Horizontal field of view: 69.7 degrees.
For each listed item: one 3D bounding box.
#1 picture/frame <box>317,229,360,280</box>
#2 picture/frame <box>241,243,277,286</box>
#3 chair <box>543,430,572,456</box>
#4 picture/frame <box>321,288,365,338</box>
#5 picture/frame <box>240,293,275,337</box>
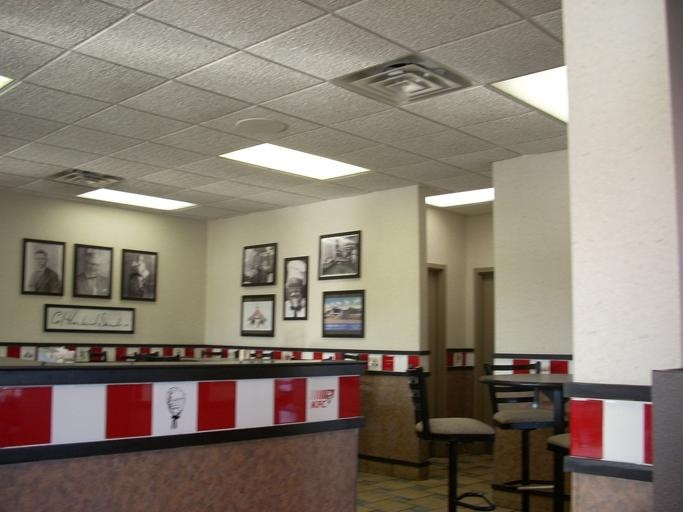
[{"bbox_3d":[0.000,-0.009,7.384,0.901,0.741,0.037,-2,-6,39],"label":"picture/frame"},{"bbox_3d":[-1.356,0.160,8.356,0.876,0.733,0.074,-3,-6,41],"label":"picture/frame"},{"bbox_3d":[1.488,1.297,3.367,0.143,0.155,0.467,-3,-8,22],"label":"chair"},{"bbox_3d":[0.061,0.860,7.259,0.865,0.719,0.040,-5,-12,37],"label":"picture/frame"},{"bbox_3d":[-1.374,1.016,8.286,0.876,0.633,0.072,-5,-10,39],"label":"picture/frame"}]
